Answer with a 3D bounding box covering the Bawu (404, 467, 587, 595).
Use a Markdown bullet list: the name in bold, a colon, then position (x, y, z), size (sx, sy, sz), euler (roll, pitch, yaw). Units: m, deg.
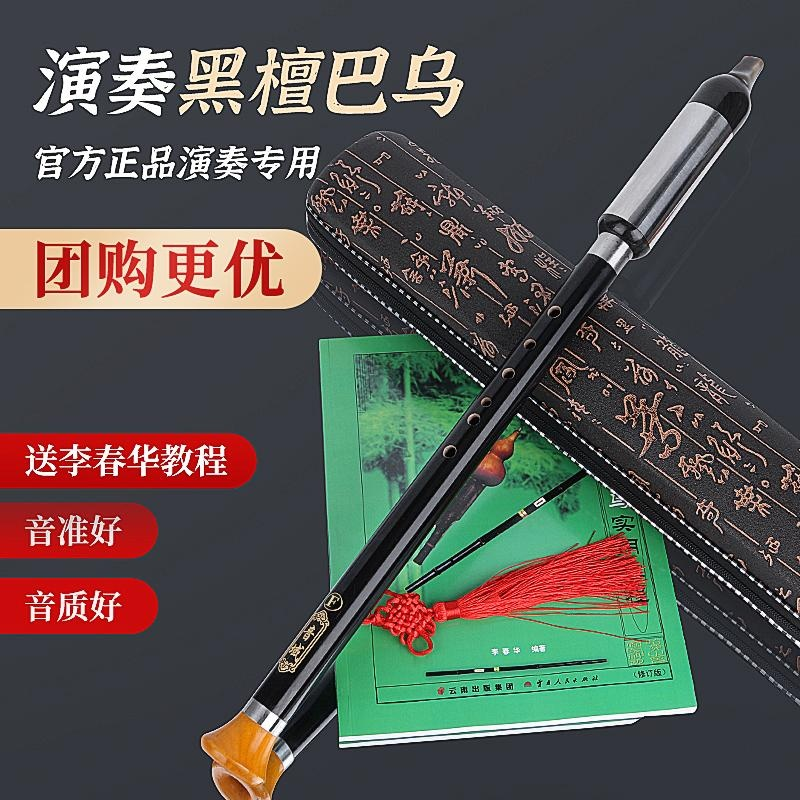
- **Bawu**: position (0.120, 0.152, 1.358), size (0.031, 0.531, 0.032), euler (-32, 72, -34)
